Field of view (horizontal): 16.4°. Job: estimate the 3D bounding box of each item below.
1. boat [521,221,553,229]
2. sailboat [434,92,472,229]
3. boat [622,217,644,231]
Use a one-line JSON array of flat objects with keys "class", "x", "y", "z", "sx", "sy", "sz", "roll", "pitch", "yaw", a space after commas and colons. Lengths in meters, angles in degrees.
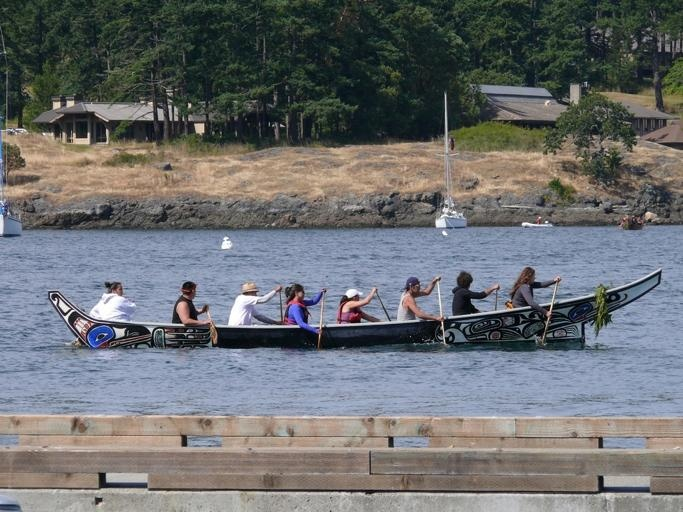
[{"class": "boat", "x": 19.825, "y": -3.059, "z": 234.996, "sx": 3.440, "sy": 0.562, "sz": 1.040, "roll": 2, "pitch": -2, "yaw": 9}, {"class": "sailboat", "x": 10.828, "y": -9.655, "z": 237.446, "sx": 2.825, "sy": 12.971, "sz": 16.013, "roll": -4, "pitch": 6, "yaw": 3}, {"class": "boat", "x": 29.032, "y": -3.189, "z": 234.012, "sx": 1.797, "sy": 0.600, "sz": 1.731, "roll": 3, "pitch": 10, "yaw": 24}]
